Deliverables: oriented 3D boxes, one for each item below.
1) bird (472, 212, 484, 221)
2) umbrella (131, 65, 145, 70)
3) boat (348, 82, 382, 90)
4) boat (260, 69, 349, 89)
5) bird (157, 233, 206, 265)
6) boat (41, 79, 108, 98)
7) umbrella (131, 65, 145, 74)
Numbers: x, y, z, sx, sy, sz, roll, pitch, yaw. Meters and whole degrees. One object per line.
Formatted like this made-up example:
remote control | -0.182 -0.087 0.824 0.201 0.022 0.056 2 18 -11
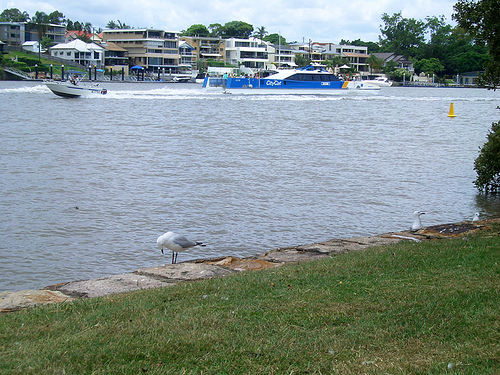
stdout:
bird | 6.657 0.829 25.189 0.181 0.211 0.595 6 12 36
umbrella | -14.987 -15.925 113.511 1.456 0.506 1.406 5 10 34
boat | 11.505 -10.191 86.970 4.997 0.688 1.031 -5 15 -30
boat | 5.137 -9.541 75.436 8.152 1.361 2.049 -2 25 -10
bird | -1.729 1.415 21.134 1.237 0.697 0.508 -15 8 -39
boat | -13.915 -7.821 68.697 4.779 1.202 1.509 1 15 -40
umbrella | -14.669 -15.635 112.736 1.161 0.653 1.060 -5 15 -23
